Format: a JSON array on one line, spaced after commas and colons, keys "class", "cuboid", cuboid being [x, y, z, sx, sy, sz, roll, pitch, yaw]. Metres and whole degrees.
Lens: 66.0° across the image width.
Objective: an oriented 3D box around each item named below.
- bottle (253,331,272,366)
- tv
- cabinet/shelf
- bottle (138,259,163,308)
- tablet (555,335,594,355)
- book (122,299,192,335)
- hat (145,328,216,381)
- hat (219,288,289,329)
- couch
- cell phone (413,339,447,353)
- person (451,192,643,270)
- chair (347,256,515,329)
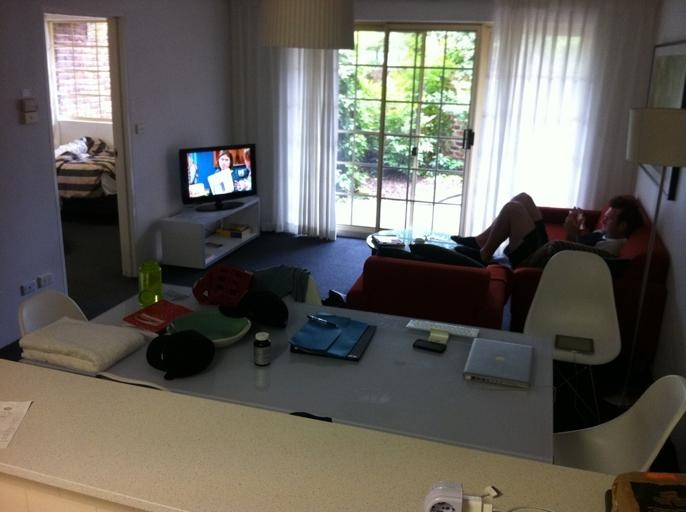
[{"class": "bottle", "cuboid": [-0.354, 0.408, 2.325, 0.090, 0.132, 0.090, 1, 6, 0]}, {"class": "tv", "cuboid": [-1.453, -0.914, 6.080, 0.209, 0.520, 0.725, 15, 24, 40]}, {"class": "cabinet/shelf", "cuboid": [-1.513, -0.345, 6.308, 0.602, 0.673, 1.550, 9, 14, 16]}, {"class": "bottle", "cuboid": [-1.024, 0.140, 2.798, 0.118, 0.211, 0.121, 5, 18, -2]}, {"class": "tablet", "cuboid": [1.378, 0.503, 3.157, 0.178, 0.042, 0.131, 6, 25, 27]}, {"class": "book", "cuboid": [-0.927, 0.293, 2.625, 0.176, 0.038, 0.177, 13, 27, 27]}, {"class": "hat", "cuboid": [-0.698, 0.418, 2.275, 0.247, 0.071, 0.284, 0, 26, -28]}, {"class": "hat", "cuboid": [-0.438, 0.251, 2.667, 0.335, 0.173, 0.208, 7, 13, -1]}, {"class": "couch", "cuboid": [1.759, 0.280, 3.711, 0.642, 0.828, 1.196, 6, 29, 17]}, {"class": "cell phone", "cuboid": [0.403, 0.405, 2.457, 0.116, 0.025, 0.064, 7, 23, 21]}, {"class": "person", "cuboid": [1.904, -0.226, 4.955, 1.266, 0.551, 0.934, 7, 26, 20]}, {"class": "chair", "cuboid": [0.643, 0.261, 3.807, 0.741, 0.308, 0.678, 5, 20, 17]}]
